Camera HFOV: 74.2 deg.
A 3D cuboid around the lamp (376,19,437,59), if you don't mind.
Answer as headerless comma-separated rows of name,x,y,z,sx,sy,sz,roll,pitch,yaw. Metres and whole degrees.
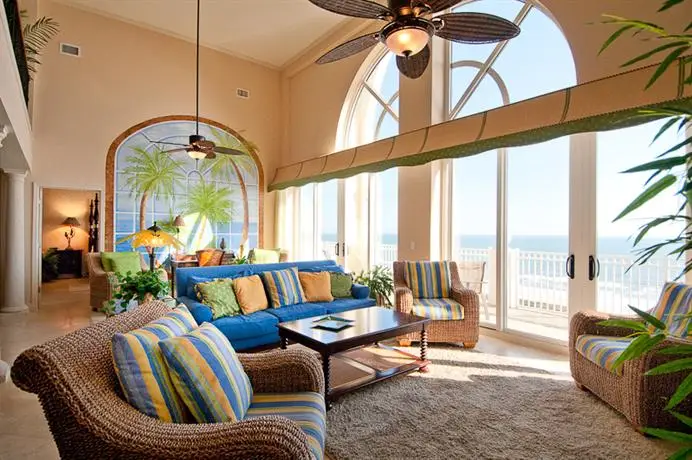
lamp,0.556,-1.727,4.129,0.333,0.144,0.328,0,-8,-4
